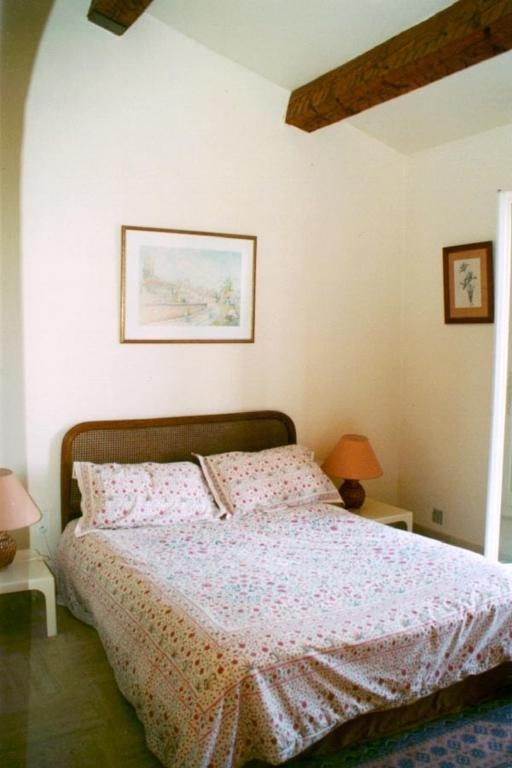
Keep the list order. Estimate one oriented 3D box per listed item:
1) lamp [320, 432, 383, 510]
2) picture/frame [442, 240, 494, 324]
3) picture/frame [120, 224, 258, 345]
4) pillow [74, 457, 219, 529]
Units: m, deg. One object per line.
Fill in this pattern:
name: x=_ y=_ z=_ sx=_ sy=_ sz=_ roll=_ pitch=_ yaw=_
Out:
lamp: x=0.544 y=0.493 z=3.430 sx=0.387 sy=0.453 sz=0.384 roll=0 pitch=-5 yaw=-3
picture/frame: x=1.225 y=-0.582 z=3.507 sx=0.097 sy=0.455 sz=0.370 roll=0 pitch=4 yaw=-18
picture/frame: x=-0.388 y=-0.533 z=3.172 sx=0.687 sy=0.516 sz=0.024 roll=-1 pitch=5 yaw=-31
pillow: x=-0.477 y=0.495 z=2.782 sx=0.517 sy=0.332 sz=0.106 roll=5 pitch=-41 yaw=-32
